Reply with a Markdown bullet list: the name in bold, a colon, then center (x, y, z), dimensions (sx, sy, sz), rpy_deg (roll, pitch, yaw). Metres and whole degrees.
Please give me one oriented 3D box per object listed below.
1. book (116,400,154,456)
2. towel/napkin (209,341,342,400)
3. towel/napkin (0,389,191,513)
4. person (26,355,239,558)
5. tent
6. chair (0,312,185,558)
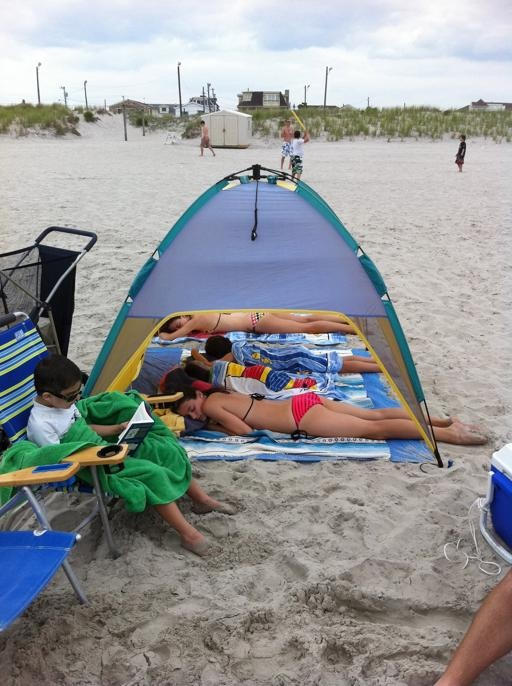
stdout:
- **book**: center (-0.532, 0.355, 2.494), dimensions (0.064, 0.216, 0.224), rpy_deg (25, 60, 16)
- **towel/napkin**: center (0.083, 0.214, 4.062), dimensions (0.681, 0.228, 0.402), rpy_deg (7, 2, 13)
- **towel/napkin**: center (-0.693, 0.533, 2.577), dimensions (0.672, 0.284, 0.645), rpy_deg (10, 17, 4)
- **person**: center (-0.601, 0.484, 2.626), dimensions (1.043, 0.727, 0.624), rpy_deg (13, 24, 2)
- **tent**: center (0.064, -0.303, 4.451), dimensions (2.179, 1.276, 2.082), rpy_deg (-1, 14, 1)
- **chair**: center (-0.861, 0.397, 2.665), dimensions (1.098, 0.688, 0.785), rpy_deg (11, 25, 13)
